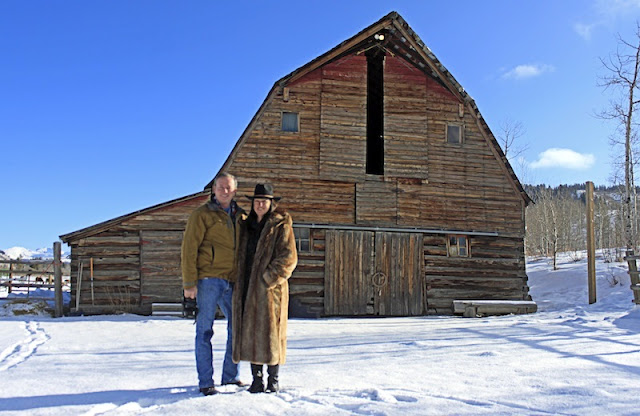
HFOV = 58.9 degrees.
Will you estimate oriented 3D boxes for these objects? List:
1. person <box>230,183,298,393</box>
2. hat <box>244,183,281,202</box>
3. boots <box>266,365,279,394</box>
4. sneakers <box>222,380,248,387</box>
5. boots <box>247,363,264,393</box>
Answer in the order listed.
[{"bbox_3d":[-1.119,1.558,11.317,1.253,4.048,0.737,-1,1,-8],"label":"person"},{"bbox_3d":[-1.510,-0.393,14.337,0.649,0.236,0.694,1,-7,1],"label":"hat"},{"bbox_3d":[-0.929,3.332,11.085,0.258,0.506,0.198,-1,1,-6],"label":"boots"},{"bbox_3d":[-1.700,3.489,11.422,0.516,0.206,0.167,0,-8,-7],"label":"sneakers"},{"bbox_3d":[-1.252,3.314,11.115,0.331,0.529,0.379,-1,1,-6],"label":"boots"}]
